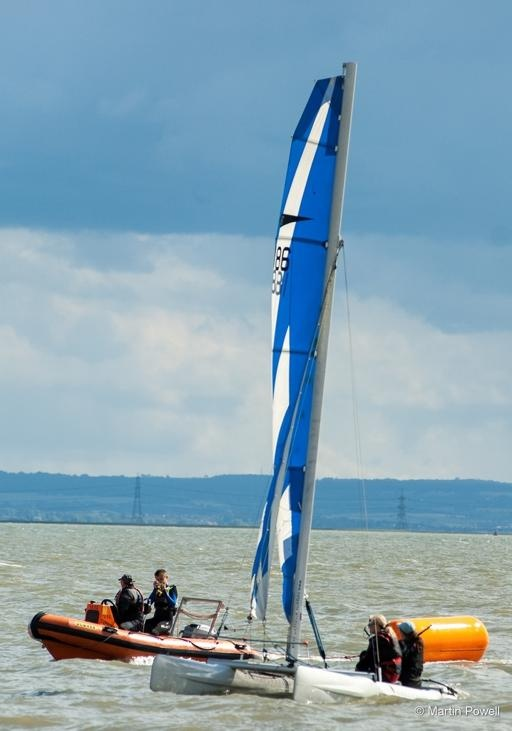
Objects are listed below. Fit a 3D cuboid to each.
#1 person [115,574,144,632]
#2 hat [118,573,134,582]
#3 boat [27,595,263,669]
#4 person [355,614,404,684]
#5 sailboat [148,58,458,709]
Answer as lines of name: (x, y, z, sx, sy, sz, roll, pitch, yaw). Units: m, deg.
person: (-2.677, 4.794, 28.061, 0.714, 1.174, 0.679, -2, -2, 35)
hat: (-2.580, 4.309, 28.048, 0.262, 0.228, 0.702, 6, -12, -4)
boat: (-2.320, 5.309, 26.957, 3.464, 1.279, 1.999, 5, -10, 4)
person: (2.161, 5.058, 24.807, 0.802, 1.311, 0.766, -3, -6, 17)
sailboat: (0.728, 0.347, 23.538, 3.874, 10.523, 3.530, 4, -11, 3)
